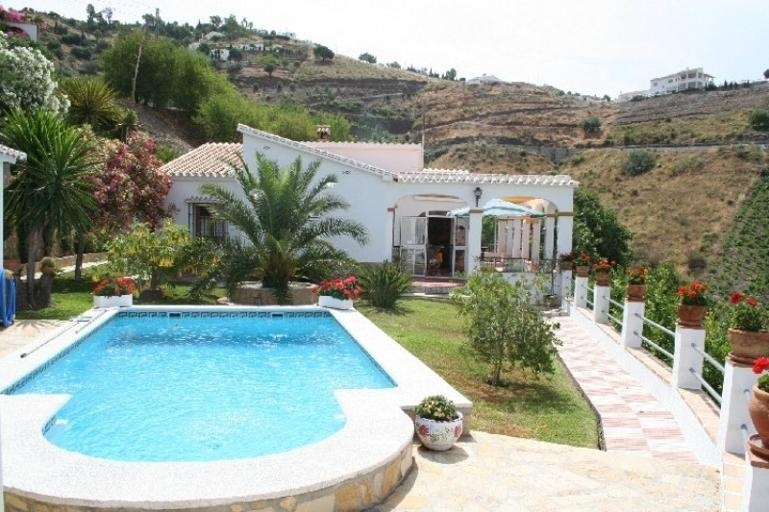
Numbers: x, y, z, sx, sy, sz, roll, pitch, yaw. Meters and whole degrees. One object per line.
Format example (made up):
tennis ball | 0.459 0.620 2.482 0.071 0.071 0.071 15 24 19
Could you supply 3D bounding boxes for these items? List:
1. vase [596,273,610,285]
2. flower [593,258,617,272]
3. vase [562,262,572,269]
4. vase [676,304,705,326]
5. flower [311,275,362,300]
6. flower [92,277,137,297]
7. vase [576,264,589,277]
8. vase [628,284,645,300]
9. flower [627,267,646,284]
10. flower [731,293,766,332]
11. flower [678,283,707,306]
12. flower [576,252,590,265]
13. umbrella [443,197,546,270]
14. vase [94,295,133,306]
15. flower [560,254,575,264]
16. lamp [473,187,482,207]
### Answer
vase | 5.785 0.641 17.281 0.302 0.252 0.317 0 -1 -1
flower | 6.706 0.308 19.992 0.513 0.437 0.508 -7 8 -42
vase | 6.307 0.382 22.451 0.371 0.273 0.383 2 4 3
vase | 5.750 1.136 12.254 0.408 0.322 0.428 0 3 11
flower | -1.117 0.934 18.409 0.854 0.453 0.782 3 4 24
flower | -7.350 0.853 17.799 0.706 0.332 0.716 0 4 -29
vase | 5.947 0.477 19.586 0.401 0.360 0.364 1 4 0
vase | 5.689 0.851 14.850 0.339 0.281 0.353 0 -1 -10
flower | 5.776 0.509 14.944 0.403 0.331 0.422 1 3 4
flower | 5.881 0.968 10.576 0.631 0.813 0.854 1 -4 30
flower | 5.782 0.758 12.256 0.437 0.443 0.456 -2 -3 21
flower | 6.130 0.121 20.254 0.381 0.437 0.409 6 9 42
umbrella | 4.445 -1.073 25.466 3.213 2.300 3.891 2 3 7
vase | -7.242 1.234 17.437 0.903 0.313 0.402 0 4 -21
flower | 6.281 0.134 22.427 0.303 0.268 0.310 2 5 9
lamp | 3.409 -2.111 23.667 0.360 0.712 0.189 -1 4 -27
